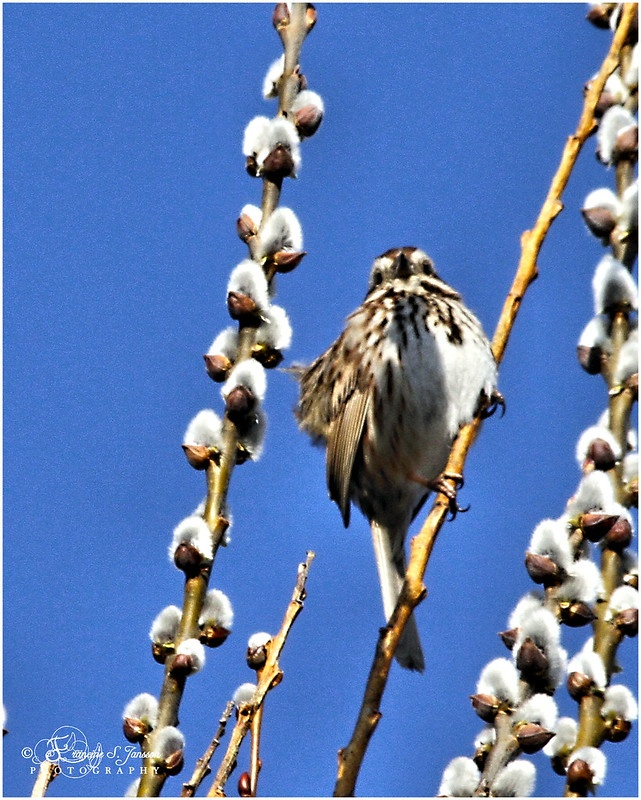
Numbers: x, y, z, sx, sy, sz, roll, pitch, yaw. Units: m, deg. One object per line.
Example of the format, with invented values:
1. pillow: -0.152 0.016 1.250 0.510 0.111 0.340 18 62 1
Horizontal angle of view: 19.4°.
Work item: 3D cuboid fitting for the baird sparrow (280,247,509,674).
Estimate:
1. baird sparrow: 0.313 -0.021 7.502 0.527 1.739 1.323 -2 -50 -13
